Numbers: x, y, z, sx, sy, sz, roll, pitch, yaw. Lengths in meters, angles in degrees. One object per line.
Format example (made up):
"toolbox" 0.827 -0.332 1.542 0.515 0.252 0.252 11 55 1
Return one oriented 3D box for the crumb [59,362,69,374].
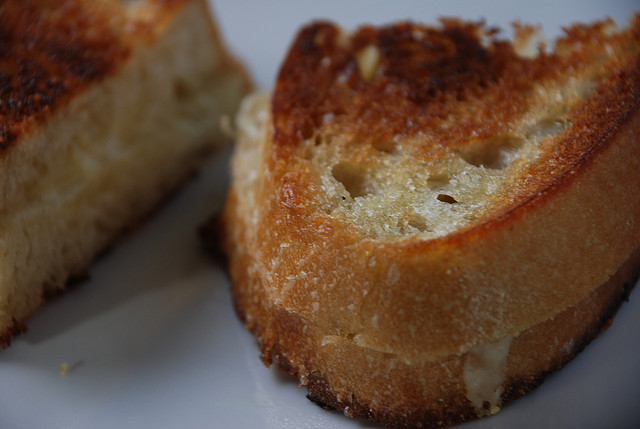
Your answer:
"crumb" -0.374 0.225 1.147 0.011 0.013 0.013 6 40 -1
